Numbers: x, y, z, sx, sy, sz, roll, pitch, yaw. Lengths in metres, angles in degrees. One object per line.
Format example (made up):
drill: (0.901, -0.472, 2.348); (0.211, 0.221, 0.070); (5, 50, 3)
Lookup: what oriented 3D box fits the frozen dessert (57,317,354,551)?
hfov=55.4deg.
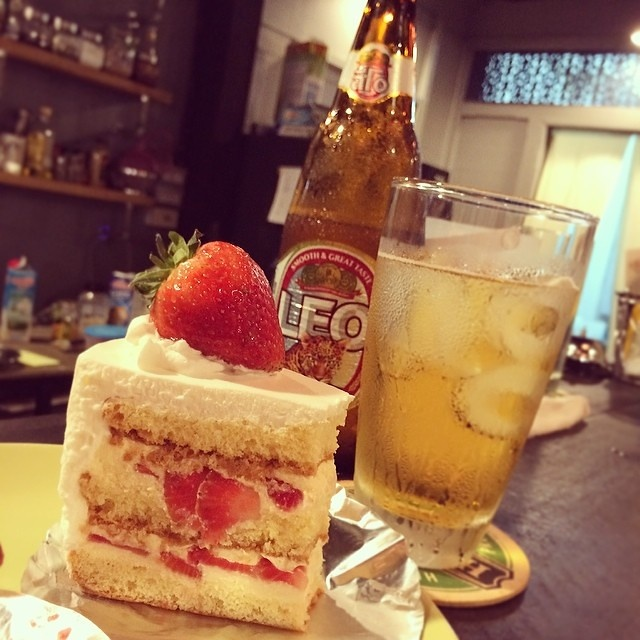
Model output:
frozen dessert: (-0.085, 0.049, 0.565); (0.197, 0.200, 0.186); (3, 15, 20)

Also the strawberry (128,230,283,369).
strawberry: (-0.096, -0.023, 0.520); (0.088, 0.095, 0.142); (-3, 18, -45)

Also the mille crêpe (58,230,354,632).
mille crêpe: (-0.099, 0.061, 0.580); (0.217, 0.326, 0.232); (5, 14, 20)

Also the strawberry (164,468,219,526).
strawberry: (-0.106, 0.143, 0.513); (0.050, 0.046, 0.040); (10, 3, -15)
